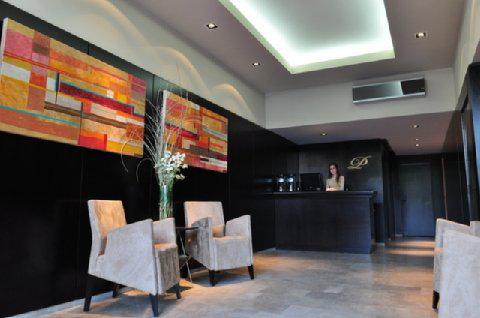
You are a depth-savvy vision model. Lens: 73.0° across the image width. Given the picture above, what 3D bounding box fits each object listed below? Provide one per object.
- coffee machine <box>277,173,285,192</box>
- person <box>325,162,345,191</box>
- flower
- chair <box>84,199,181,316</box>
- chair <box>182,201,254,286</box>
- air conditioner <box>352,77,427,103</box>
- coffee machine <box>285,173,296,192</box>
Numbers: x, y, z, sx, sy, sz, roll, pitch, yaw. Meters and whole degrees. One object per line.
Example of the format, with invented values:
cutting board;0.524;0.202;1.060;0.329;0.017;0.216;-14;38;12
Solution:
coffee machine;1.105;0.636;8.465;0.158;0.416;0.274;-4;-6;41
person;2.399;0.519;8.280;0.559;0.795;0.519;-2;-7;15
flower;-1.117;-0.435;5.125;0.631;1.674;1.284;-2;-5;23
chair;-1.299;1.142;3.912;0.917;1.279;0.533;-2;-5;21
chair;-0.326;1.252;5.159;1.067;1.177;1.124;-3;-9;9
air conditioner;3.300;-1.499;7.202;1.560;0.429;0.247;-6;-5;5
coffee machine;1.373;0.624;8.559;0.254;0.458;0.726;-1;-5;8
